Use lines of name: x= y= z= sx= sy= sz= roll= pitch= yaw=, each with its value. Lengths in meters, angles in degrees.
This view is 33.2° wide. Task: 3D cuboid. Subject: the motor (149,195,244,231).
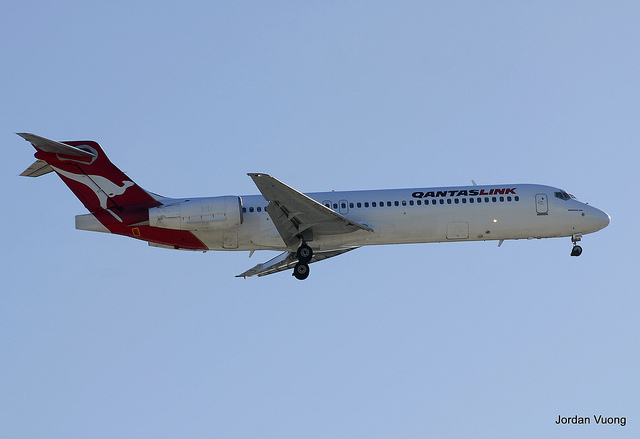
motor: x=-4.362 y=-0.117 z=37.663 sx=2.467 sy=1.115 sz=0.739 roll=-3 pitch=-68 yaw=-5
